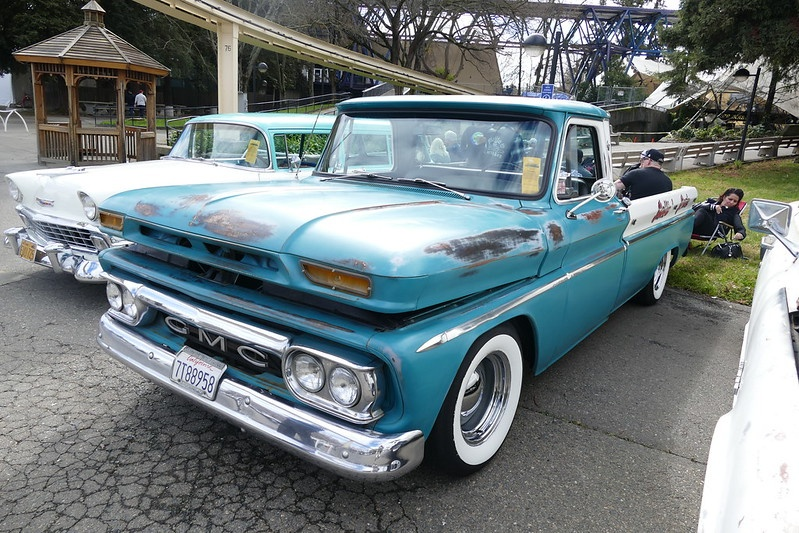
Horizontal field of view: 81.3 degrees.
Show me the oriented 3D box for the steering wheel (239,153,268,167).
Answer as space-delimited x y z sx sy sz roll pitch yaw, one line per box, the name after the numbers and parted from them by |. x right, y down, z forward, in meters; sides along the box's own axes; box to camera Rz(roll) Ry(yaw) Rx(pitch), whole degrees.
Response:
-2.069 -1.490 6.630 0.302 0.219 0.111 0 10 18 | steering wheel

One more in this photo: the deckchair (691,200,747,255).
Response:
5.983 -0.774 8.836 1.417 0.883 0.913 -14 8 -30 | deckchair

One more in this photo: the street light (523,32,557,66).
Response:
3.707 -6.076 12.745 0.493 0.885 2.071 5 18 16 | street light
